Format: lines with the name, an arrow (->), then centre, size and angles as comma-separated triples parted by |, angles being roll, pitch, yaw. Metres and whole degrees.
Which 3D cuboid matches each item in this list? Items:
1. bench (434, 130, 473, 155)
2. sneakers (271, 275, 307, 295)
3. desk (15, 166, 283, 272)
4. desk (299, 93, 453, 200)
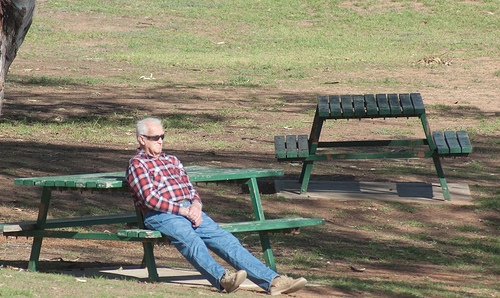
bench -> 4.766, -0.158, 17.203 | 0.931, 0.147, 0.615 | -2, 38, -5
sneakers -> 0.607, 2.263, 12.204 | 0.796, 0.208, 0.231 | -9, 7, 13
desk -> -2.252, 0.844, 12.829 | 3.149, 0.881, 3.189 | 0, 1, 34
desk -> 2.349, 0.089, 17.891 | 5.611, 1.982, 1.833 | -1, 2, -34
